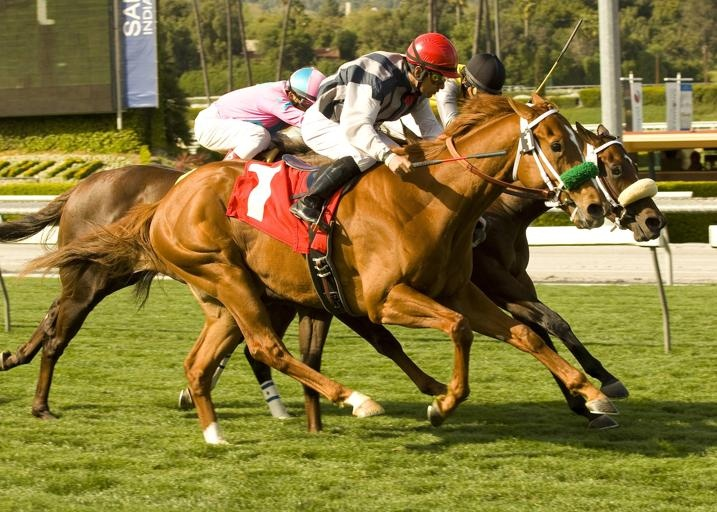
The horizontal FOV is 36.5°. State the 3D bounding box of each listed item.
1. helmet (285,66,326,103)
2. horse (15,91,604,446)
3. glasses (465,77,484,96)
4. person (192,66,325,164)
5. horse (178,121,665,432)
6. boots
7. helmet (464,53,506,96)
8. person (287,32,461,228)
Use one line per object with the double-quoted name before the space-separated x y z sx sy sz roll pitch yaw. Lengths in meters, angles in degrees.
"helmet" -0.312 -1.068 6.889 0.265 0.213 0.282 19 12 4
"horse" -0.324 0.191 6.403 4.618 1.832 0.876 -4 -5 26
"glasses" 0.675 -0.986 6.450 0.034 0.120 0.124 -48 41 -4
"person" -0.599 -0.846 7.150 1.009 0.502 0.492 -9 5 8
"horse" 0.590 0.204 7.352 1.049 1.768 3.832 -7 0 -38
"boots" -0.182 -0.348 6.032 0.516 0.146 0.211 -27 31 17
"helmet" 0.744 -1.068 6.446 0.243 0.329 0.304 -8 -9 5
"person" 0.161 -0.703 6.242 1.121 0.981 0.921 -2 15 -2
